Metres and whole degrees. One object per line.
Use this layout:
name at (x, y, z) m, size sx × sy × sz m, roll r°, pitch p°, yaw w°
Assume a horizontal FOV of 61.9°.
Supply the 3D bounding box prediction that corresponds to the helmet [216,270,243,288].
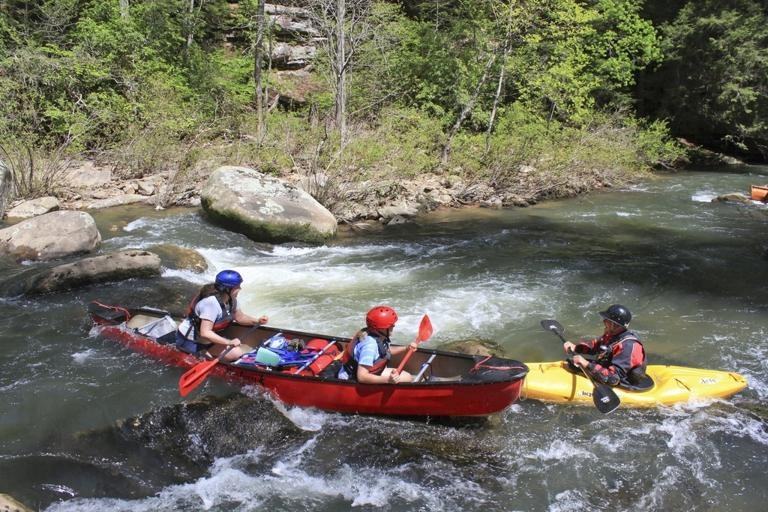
helmet at (-2.517, 0.385, 10.429) m, size 0.432 × 0.282 × 0.293 m, roll -17°, pitch 25°, yaw -6°

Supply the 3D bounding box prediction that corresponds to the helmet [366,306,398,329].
helmet at (0.016, 1.015, 9.671) m, size 0.480 × 0.253 × 0.345 m, roll 3°, pitch 15°, yaw -24°

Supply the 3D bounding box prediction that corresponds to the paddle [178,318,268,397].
paddle at (-2.616, 1.816, 10.341) m, size 0.278 × 0.243 × 2.372 m, roll 14°, pitch 23°, yaw 20°

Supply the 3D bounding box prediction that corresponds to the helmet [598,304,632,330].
helmet at (3.668, 1.031, 10.255) m, size 0.524 × 0.249 × 0.442 m, roll 31°, pitch 24°, yaw 26°
